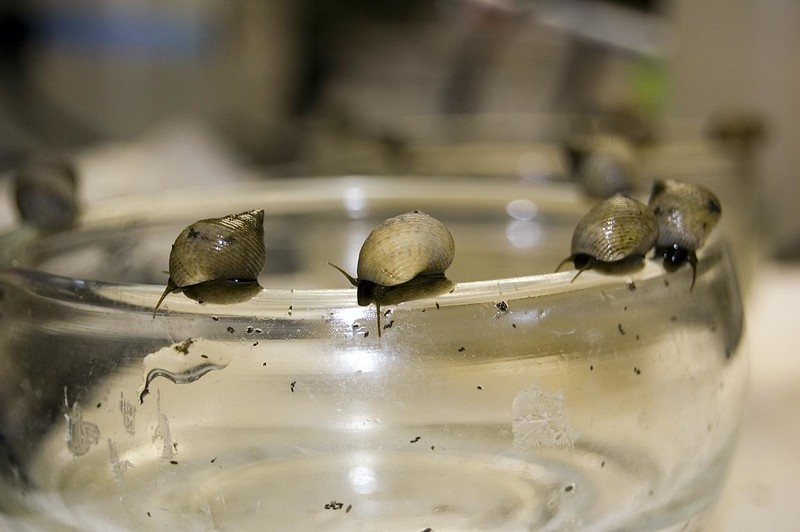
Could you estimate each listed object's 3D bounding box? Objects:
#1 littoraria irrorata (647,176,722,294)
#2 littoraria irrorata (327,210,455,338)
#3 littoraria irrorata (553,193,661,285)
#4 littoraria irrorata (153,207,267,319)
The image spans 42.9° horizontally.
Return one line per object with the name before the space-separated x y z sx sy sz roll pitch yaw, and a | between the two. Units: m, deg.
littoraria irrorata | 0.261 -0.037 0.928 0.061 0.041 0.111 11 47 22
littoraria irrorata | -0.010 -0.012 0.887 0.038 0.099 0.132 35 55 20
littoraria irrorata | 0.186 -0.028 0.906 0.085 0.029 0.066 -38 38 -14
littoraria irrorata | -0.167 -0.014 0.907 0.131 0.061 0.076 -15 25 -40
